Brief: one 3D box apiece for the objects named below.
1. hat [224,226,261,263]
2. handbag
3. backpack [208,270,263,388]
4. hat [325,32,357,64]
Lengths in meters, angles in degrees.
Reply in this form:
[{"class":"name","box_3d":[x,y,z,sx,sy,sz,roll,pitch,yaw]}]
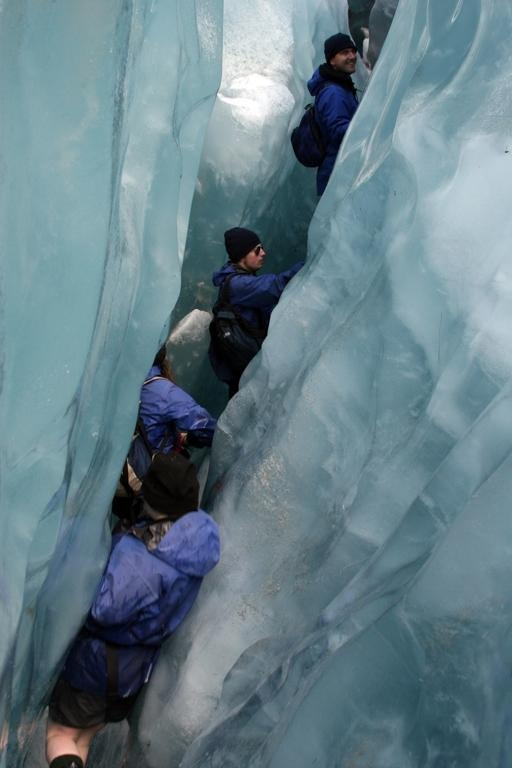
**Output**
[{"class":"hat","box_3d":[-0.022,-0.295,1.737,0.075,0.072,0.058,-13,17,4]},{"class":"handbag","box_3d":[-0.125,0.151,1.237,0.069,0.097,0.076,-12,16,-16]},{"class":"backpack","box_3d":[-0.038,-0.115,1.705,0.123,0.222,0.159,-2,46,-7]},{"class":"hat","box_3d":[0.172,-0.709,1.747,0.068,0.057,0.053,-7,5,34]}]
